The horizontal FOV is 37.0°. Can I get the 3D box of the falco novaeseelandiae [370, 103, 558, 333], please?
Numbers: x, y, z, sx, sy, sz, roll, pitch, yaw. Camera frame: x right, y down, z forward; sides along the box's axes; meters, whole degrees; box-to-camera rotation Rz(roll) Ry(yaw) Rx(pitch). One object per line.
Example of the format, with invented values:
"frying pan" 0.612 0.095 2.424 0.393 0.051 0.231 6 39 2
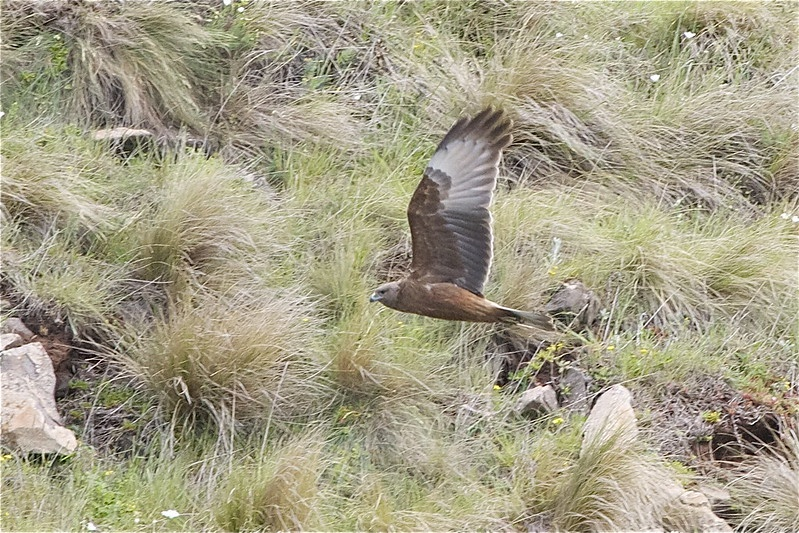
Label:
"falco novaeseelandiae" 0.408 -0.256 9.123 1.845 2.003 1.378 -8 75 -1
